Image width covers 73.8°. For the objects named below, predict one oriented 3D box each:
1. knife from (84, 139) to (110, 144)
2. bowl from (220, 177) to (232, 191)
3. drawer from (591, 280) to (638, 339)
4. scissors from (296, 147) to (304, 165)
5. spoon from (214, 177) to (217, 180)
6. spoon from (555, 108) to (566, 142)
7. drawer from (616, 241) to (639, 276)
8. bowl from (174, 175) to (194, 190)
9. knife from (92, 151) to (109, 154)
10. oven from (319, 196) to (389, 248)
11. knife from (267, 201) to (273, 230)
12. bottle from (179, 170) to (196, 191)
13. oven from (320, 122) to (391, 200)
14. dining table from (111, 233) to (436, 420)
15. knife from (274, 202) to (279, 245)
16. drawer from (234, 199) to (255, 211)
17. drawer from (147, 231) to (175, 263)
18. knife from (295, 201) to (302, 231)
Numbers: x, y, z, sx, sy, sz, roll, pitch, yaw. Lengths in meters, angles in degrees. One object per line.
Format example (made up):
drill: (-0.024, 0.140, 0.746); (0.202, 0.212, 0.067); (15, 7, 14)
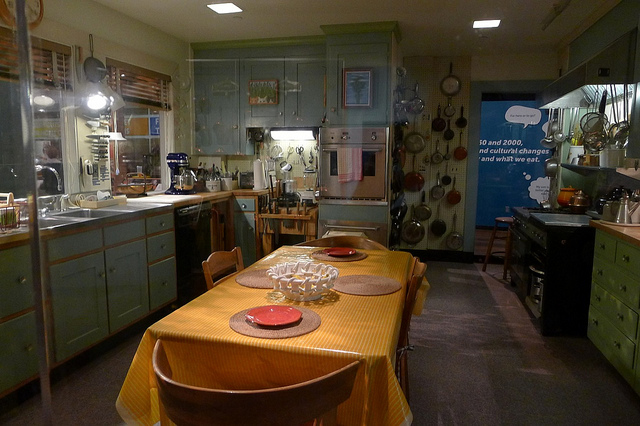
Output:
knife: (-2.008, -0.641, 3.833); (0.014, 0.048, 0.221); (8, 15, 32)
bowl: (-1.159, -0.360, 5.307); (0.132, 0.138, 0.122); (-1, 6, 0)
drawer: (2.114, 0.708, 3.050); (0.081, 0.215, 0.289); (-1, 13, -12)
scissors: (-0.247, -0.741, 5.439); (0.077, 0.217, 0.017); (1, 11, 9)
spoon: (-1.264, -0.413, 5.155); (0.030, 0.037, 0.031); (3, 9, 23)
spoon: (2.819, -1.027, 4.977); (0.090, 0.369, 0.163); (3, 13, 12)
drawer: (2.126, 0.307, 2.933); (0.136, 0.158, 0.223); (9, 7, 15)
bowl: (-1.512, -0.333, 4.744); (0.162, 0.126, 0.168); (1, 9, 0)
knife: (-2.000, -0.551, 3.891); (0.008, 0.033, 0.151); (6, 14, 23)
oven: (0.482, 0.128, 5.082); (0.606, 0.969, 0.613); (-1, 0, 12)
knife: (-0.586, 0.035, 5.059); (0.043, 0.344, 0.025); (1, 3, 9)
bottle: (-1.474, -0.361, 4.751); (0.203, 0.214, 0.160); (1, -4, -25)
oven: (0.421, -0.611, 4.961); (0.783, 0.905, 0.590); (2, 16, 11)
dining table: (-0.040, 0.541, 2.279); (1.080, 0.479, 1.693); (2, 7, 20)
knife: (-0.496, 0.136, 5.064); (0.048, 0.475, 0.041); (1, 14, 10)
drawer: (-0.905, -0.095, 5.141); (0.259, 0.144, 0.027); (3, 13, 10)
drawer: (-1.430, 0.300, 3.847); (0.196, 0.130, 0.204); (0, 3, 11)
knife: (-0.243, 0.039, 5.028); (0.045, 0.342, 0.029); (-1, 7, 29)
